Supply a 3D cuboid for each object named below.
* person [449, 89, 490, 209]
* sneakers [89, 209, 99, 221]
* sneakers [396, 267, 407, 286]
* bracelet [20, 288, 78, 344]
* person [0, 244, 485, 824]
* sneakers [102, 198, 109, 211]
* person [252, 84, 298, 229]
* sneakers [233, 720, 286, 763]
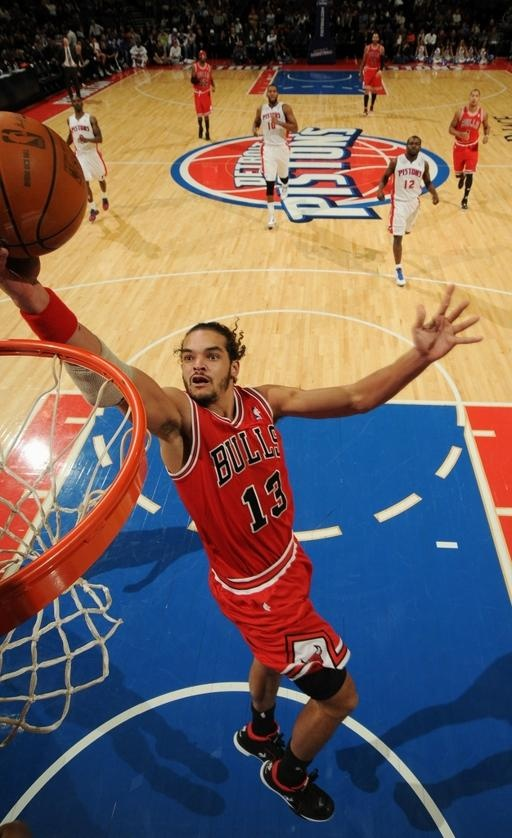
[{"bbox_3d":[2.982,-3.827,7.916,0.489,1.463,0.940,8,35,19],"label":"person"},{"bbox_3d":[-2.372,-2.991,8.080,0.088,0.122,0.289,-2,48,-3],"label":"sneakers"},{"bbox_3d":[1.633,-1.631,6.314,0.093,0.119,0.290,-7,66,5],"label":"sneakers"},{"bbox_3d":[-0.509,-0.253,1.384,0.115,0.165,0.152,-15,35,-16],"label":"bracelet"},{"bbox_3d":[0.059,0.419,2.099,0.843,2.430,1.209,10,35,21],"label":"person"},{"bbox_3d":[-2.240,-3.183,8.259,0.078,0.249,0.165,-5,7,-15],"label":"sneakers"},{"bbox_3d":[0.261,-3.531,7.526,0.529,1.691,0.718,-3,32,2],"label":"person"},{"bbox_3d":[0.014,1.498,2.523,0.277,0.145,0.111,12,43,5],"label":"sneakers"}]
